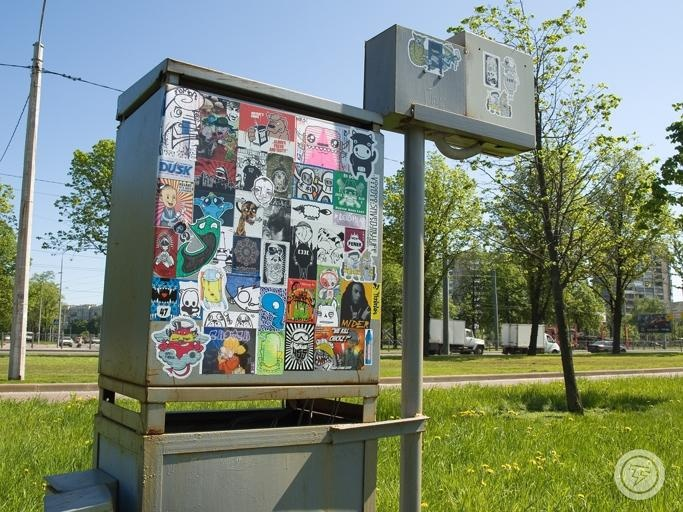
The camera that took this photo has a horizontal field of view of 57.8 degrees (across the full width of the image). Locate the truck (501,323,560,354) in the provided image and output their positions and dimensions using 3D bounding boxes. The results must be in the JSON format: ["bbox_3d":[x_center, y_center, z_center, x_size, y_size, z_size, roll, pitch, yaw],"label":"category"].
[{"bbox_3d":[15.800,6.901,50.034,5.787,3.405,2.458,2,-4,-29],"label":"truck"}]

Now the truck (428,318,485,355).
[{"bbox_3d":[8.447,6.035,46.602,5.192,2.493,1.597,7,-3,-22],"label":"truck"}]
